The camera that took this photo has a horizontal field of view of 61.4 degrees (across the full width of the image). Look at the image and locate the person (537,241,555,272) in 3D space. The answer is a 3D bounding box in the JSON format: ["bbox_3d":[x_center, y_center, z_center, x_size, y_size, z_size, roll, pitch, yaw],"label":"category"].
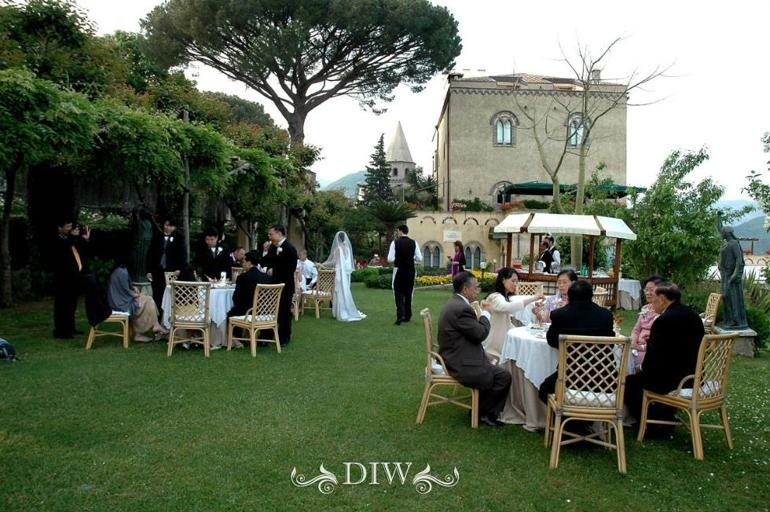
[{"bbox_3d":[4.797,-0.039,19.208,0.460,0.986,0.647,0,0,13],"label":"person"}]

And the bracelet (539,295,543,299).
[{"bbox_3d":[2.667,0.687,11.088,0.050,0.050,0.090,-3,16,14],"label":"bracelet"}]

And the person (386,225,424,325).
[{"bbox_3d":[0.477,0.428,16.456,0.788,2.511,1.140,0,0,3],"label":"person"}]

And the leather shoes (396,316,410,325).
[{"bbox_3d":[0.377,1.620,16.397,0.412,0.145,0.295,-11,-4,15],"label":"leather shoes"}]
